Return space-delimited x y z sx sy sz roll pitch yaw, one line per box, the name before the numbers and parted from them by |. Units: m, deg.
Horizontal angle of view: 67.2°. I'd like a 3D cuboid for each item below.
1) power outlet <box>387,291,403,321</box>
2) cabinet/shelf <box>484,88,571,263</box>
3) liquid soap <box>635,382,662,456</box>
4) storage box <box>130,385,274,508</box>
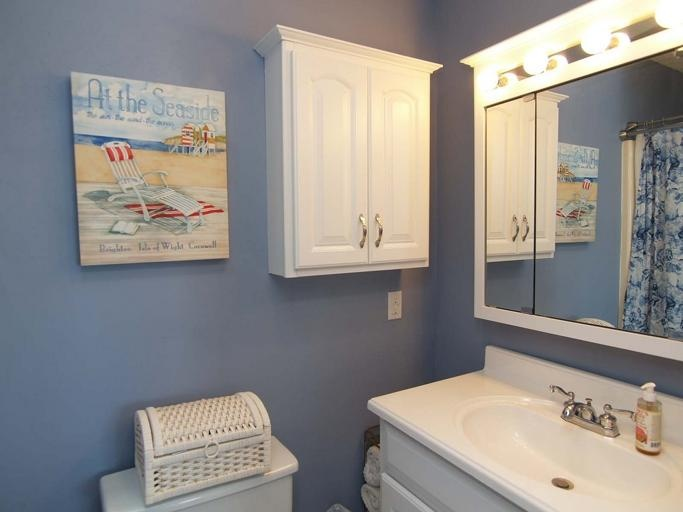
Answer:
power outlet | 0.257 0.237 2.474 0.089 0.139 0.007 -6 6 -30
cabinet/shelf | 0.710 -0.348 2.192 0.101 0.639 0.307 -14 10 -40
liquid soap | 1.027 0.541 1.711 0.098 0.230 0.100 1 4 34
storage box | -0.471 0.669 1.807 0.447 0.288 0.303 1 -4 -31
